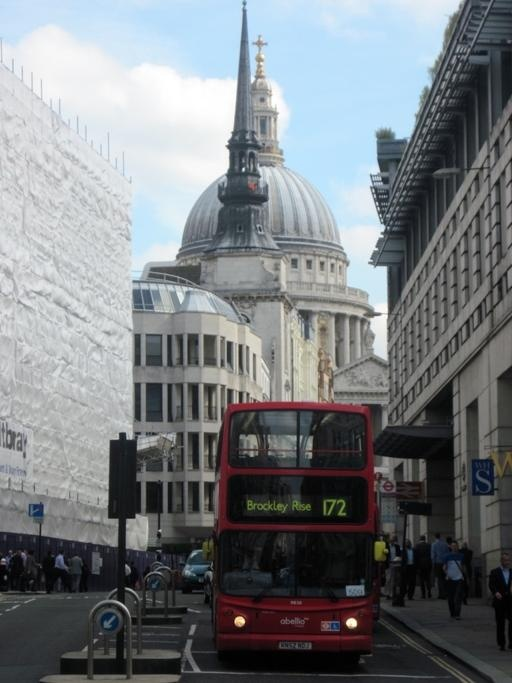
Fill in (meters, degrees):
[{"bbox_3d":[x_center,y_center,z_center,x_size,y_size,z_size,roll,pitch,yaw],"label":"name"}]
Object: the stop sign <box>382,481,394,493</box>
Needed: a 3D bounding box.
[{"bbox_3d":[3.553,3.937,38.523,0.216,0.351,0.275,0,2,1],"label":"stop sign"}]
